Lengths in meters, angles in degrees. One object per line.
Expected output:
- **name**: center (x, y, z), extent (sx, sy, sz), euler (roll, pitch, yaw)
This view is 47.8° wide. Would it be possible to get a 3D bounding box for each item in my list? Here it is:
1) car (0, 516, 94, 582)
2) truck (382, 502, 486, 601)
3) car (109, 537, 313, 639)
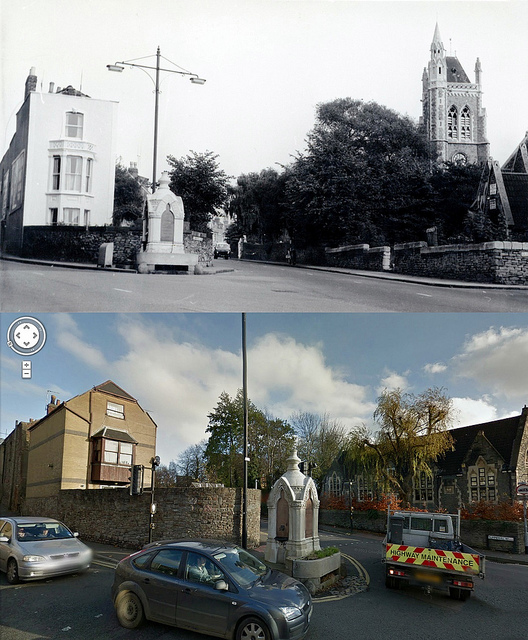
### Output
- **car**: center (-4.103, 4.138, 10.858), extent (0.937, 0.754, 1.569), euler (14, -29, -36)
- **truck**: center (3.268, 4.555, 11.757), extent (1.211, 1.340, 2.365), euler (0, -11, 17)
- **car**: center (-0.692, 3.806, 8.405), extent (2.250, 1.253, 1.439), euler (-7, -18, 16)
